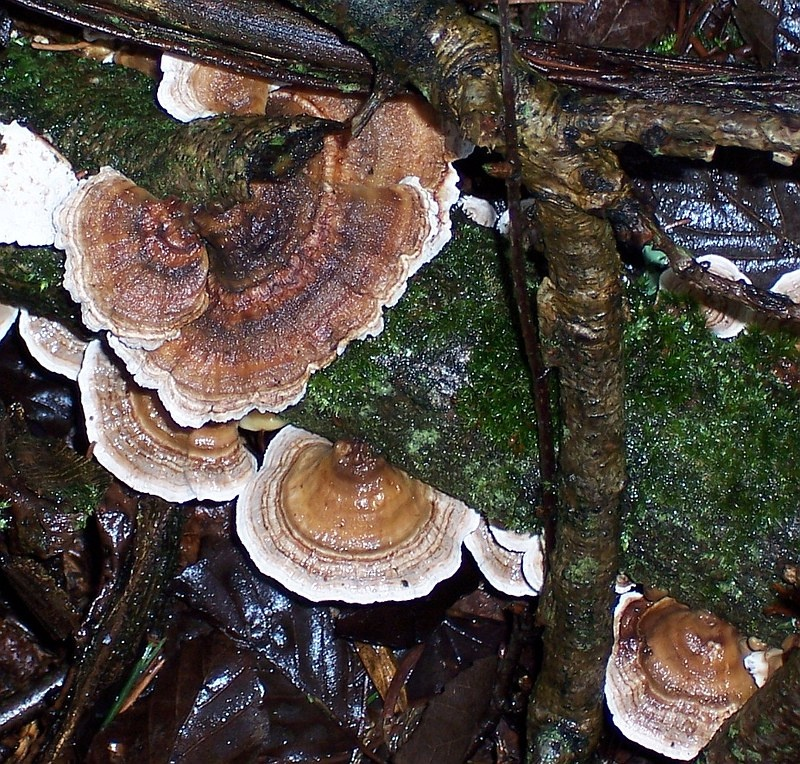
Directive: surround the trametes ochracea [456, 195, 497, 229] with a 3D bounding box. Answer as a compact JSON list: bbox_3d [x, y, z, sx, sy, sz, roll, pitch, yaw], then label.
[{"bbox_3d":[0.381,-0.815,4.819,0.211,0.097,0.109,18,30,25],"label":"trametes ochracea"}]
